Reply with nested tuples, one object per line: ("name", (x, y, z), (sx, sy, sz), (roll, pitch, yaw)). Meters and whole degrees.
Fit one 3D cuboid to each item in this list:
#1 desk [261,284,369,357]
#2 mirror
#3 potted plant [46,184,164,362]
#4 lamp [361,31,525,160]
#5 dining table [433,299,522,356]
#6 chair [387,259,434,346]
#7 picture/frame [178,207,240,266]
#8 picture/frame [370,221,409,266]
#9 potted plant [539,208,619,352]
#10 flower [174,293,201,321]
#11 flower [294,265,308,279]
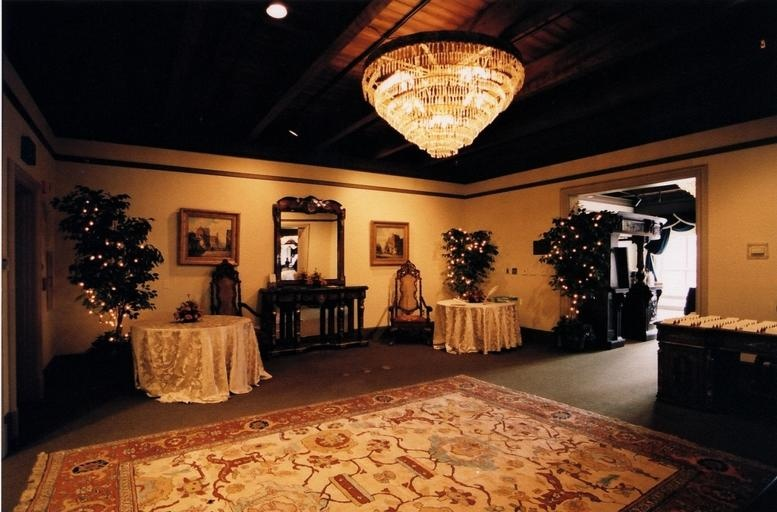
("desk", (-1.459, 1.171, 9.257), (2.032, 1.120, 0.859), (-3, 0, -35))
("mirror", (-1.538, -0.269, 9.229), (1.829, 1.942, 0.222), (0, -1, -29))
("potted plant", (-4.067, 0.118, 7.397), (1.179, 2.304, 1.101), (-13, 18, -43))
("lamp", (0.508, -1.830, 5.553), (1.302, 0.585, 1.254), (4, -16, -16))
("dining table", (1.556, 1.263, 8.898), (1.140, 0.536, 1.120), (0, -3, -9))
("chair", (0.438, 0.882, 9.922), (0.874, 1.454, 1.182), (1, 13, 2))
("picture/frame", (-3.092, -0.339, 8.454), (1.068, 0.950, 0.134), (1, -5, -31))
("picture/frame", (-0.025, -0.270, 10.113), (0.975, 0.908, 0.070), (1, -2, -30))
("potted plant", (3.443, 0.385, 9.057), (1.264, 2.495, 0.907), (6, 14, 22))
("flower", (-2.932, 0.703, 7.218), (0.461, 0.468, 0.435), (2, -4, -11))
("flower", (-1.594, 0.291, 9.167), (0.255, 0.209, 0.092), (-5, 14, -20))
